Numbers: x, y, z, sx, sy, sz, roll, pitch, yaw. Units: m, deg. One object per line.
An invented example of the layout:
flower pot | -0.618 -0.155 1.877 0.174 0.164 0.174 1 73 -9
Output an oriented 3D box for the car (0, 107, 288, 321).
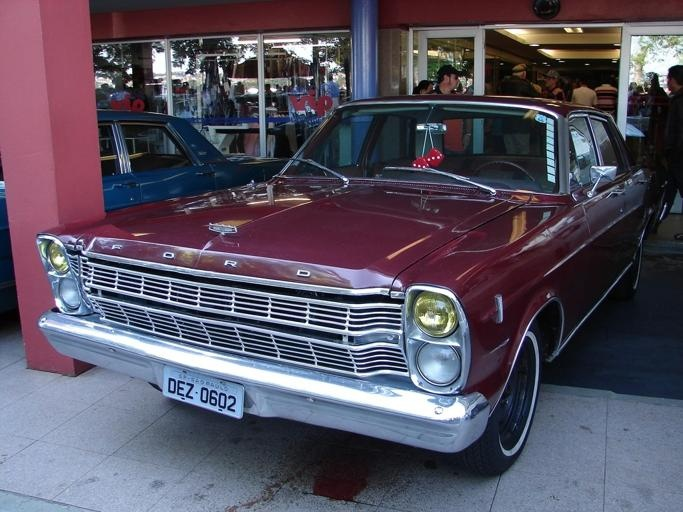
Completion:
car | -1.455 -0.310 3.263 0.917 0.750 2.276 6 15 31
